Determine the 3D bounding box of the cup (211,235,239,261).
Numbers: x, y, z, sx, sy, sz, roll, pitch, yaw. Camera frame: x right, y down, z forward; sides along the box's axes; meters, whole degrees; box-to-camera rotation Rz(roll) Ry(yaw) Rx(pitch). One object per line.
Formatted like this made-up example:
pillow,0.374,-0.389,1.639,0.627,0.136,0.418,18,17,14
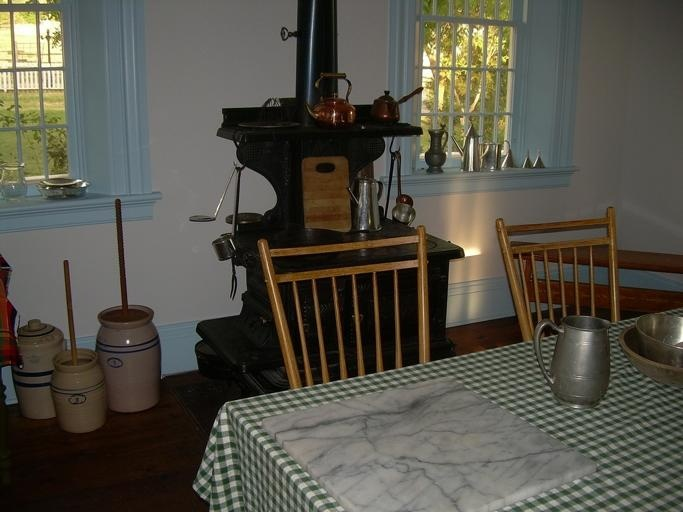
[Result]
cup,-0.594,-0.046,2.868,0.163,0.137,0.089,3,15,20

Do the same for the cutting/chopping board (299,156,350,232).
cutting/chopping board,-0.086,-0.327,3.037,0.254,0.407,0.012,-5,12,-25

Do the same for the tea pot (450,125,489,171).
tea pot,0.959,-0.815,4.115,0.277,0.344,0.277,-2,14,1

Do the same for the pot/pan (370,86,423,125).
pot/pan,0.306,-0.856,3.101,0.275,0.224,0.154,24,28,32

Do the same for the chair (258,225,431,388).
chair,-0.001,0.222,2.310,0.610,0.668,0.343,-11,31,-8

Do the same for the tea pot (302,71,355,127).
tea pot,-0.053,-0.814,2.898,0.338,0.301,0.256,-3,15,-20

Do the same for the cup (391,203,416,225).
cup,0.360,-0.247,3.176,0.118,0.117,0.124,2,10,0

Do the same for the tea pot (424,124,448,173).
tea pot,0.706,-0.762,3.980,0.197,0.306,0.204,-2,14,1

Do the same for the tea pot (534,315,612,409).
tea pot,0.562,0.260,1.350,0.193,0.198,0.137,2,7,0

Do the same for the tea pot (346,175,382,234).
tea pot,0.132,-0.289,3.031,0.272,0.276,0.197,-12,18,-43
